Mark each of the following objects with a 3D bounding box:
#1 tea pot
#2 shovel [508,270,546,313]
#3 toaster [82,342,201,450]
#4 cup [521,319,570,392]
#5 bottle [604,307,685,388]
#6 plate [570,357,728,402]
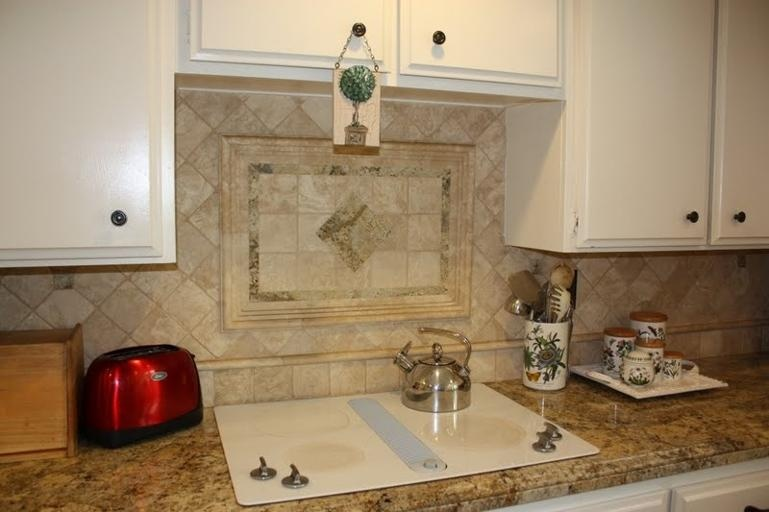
[{"bbox_3d":[0.177,0.405,2.162,0.280,0.286,0.252,2,10,-2],"label":"tea pot"},{"bbox_3d":[0.557,0.135,2.279,0.143,0.140,0.064,4,15,14],"label":"shovel"},{"bbox_3d":[-0.772,0.421,1.921,0.479,0.349,0.260,-3,0,-36],"label":"toaster"},{"bbox_3d":[0.620,0.381,2.289,0.153,0.289,0.149,2,11,0],"label":"cup"},{"bbox_3d":[1.019,0.362,2.317,0.215,0.286,0.200,4,11,-1],"label":"bottle"},{"bbox_3d":[1.089,0.439,2.315,0.599,0.101,0.487,-1,7,-24],"label":"plate"}]
